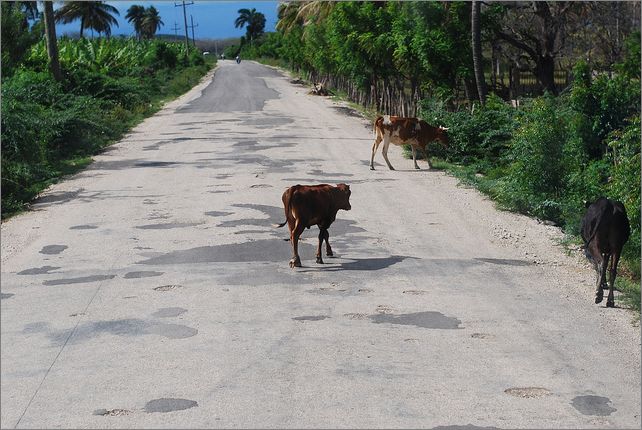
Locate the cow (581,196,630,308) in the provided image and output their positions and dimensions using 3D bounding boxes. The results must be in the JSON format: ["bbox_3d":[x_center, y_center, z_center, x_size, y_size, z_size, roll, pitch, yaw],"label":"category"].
[{"bbox_3d":[5.996,0.494,13.549,0.949,2.099,3.650,1,6,25],"label":"cow"}]

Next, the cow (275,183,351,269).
[{"bbox_3d":[-0.065,0.193,13.917,0.613,1.693,2.357,1,2,35],"label":"cow"}]

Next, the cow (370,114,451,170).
[{"bbox_3d":[3.189,-2.434,22.765,2.949,1.782,0.732,0,3,-21],"label":"cow"}]
